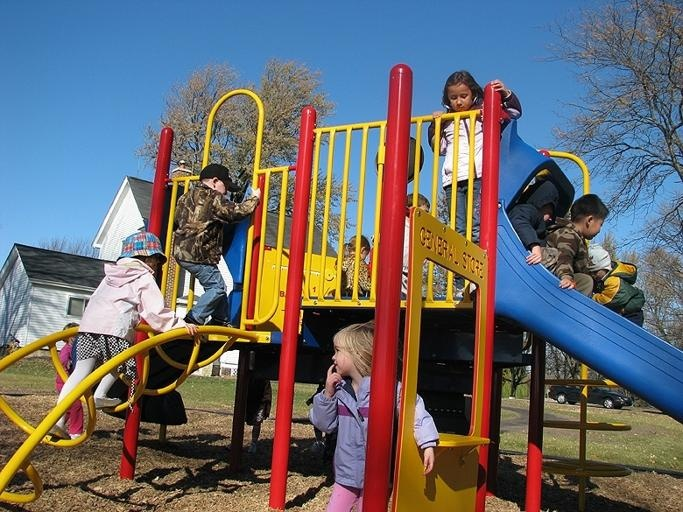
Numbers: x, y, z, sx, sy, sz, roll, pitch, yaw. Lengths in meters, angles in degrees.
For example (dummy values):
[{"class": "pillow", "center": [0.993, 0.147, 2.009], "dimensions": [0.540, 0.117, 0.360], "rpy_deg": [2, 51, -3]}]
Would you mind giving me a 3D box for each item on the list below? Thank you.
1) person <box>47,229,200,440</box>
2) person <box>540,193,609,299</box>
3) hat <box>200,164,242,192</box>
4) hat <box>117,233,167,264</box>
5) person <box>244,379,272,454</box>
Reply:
[{"class": "person", "center": [-1.735, 0.438, 4.868], "dimensions": [0.802, 1.336, 0.546], "rpy_deg": [6, -6, -27]}, {"class": "person", "center": [1.877, -0.050, 4.980], "dimensions": [0.395, 0.800, 0.447], "rpy_deg": [13, -30, 10]}, {"class": "hat", "center": [-1.151, -0.757, 5.841], "dimensions": [0.335, 0.221, 0.232], "rpy_deg": [12, 3, -18]}, {"class": "hat", "center": [-1.693, -0.044, 5.170], "dimensions": [0.276, 0.168, 0.247], "rpy_deg": [-5, -12, 6]}, {"class": "person", "center": [-1.034, 1.956, 7.517], "dimensions": [0.286, 0.937, 0.901], "rpy_deg": [4, -6, -7]}]
